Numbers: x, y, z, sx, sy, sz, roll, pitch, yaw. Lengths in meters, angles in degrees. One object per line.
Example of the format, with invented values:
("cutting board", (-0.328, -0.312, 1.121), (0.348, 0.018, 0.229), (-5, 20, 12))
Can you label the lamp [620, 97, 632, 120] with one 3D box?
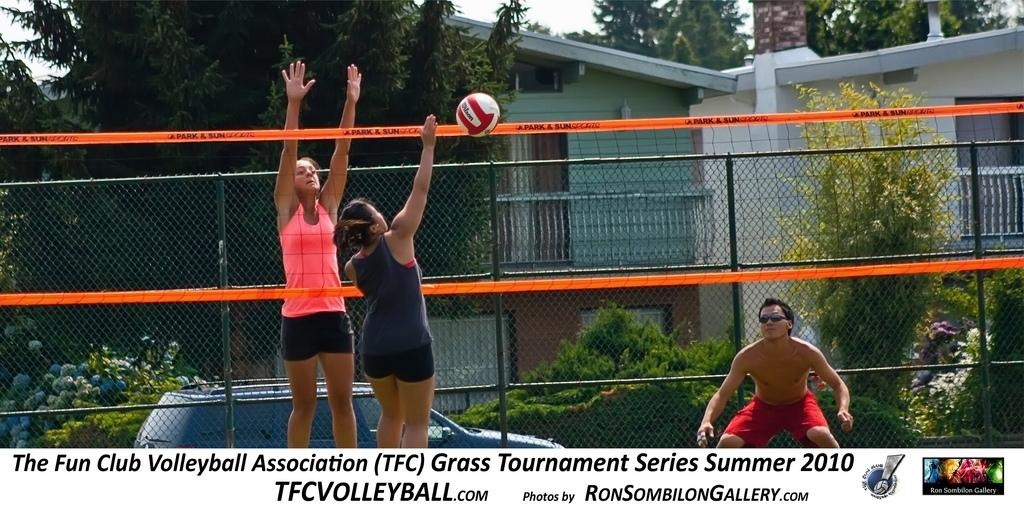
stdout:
("lamp", (2.780, -3.511, 29.948), (0.308, 0.478, 0.220), (-2, -7, -3))
